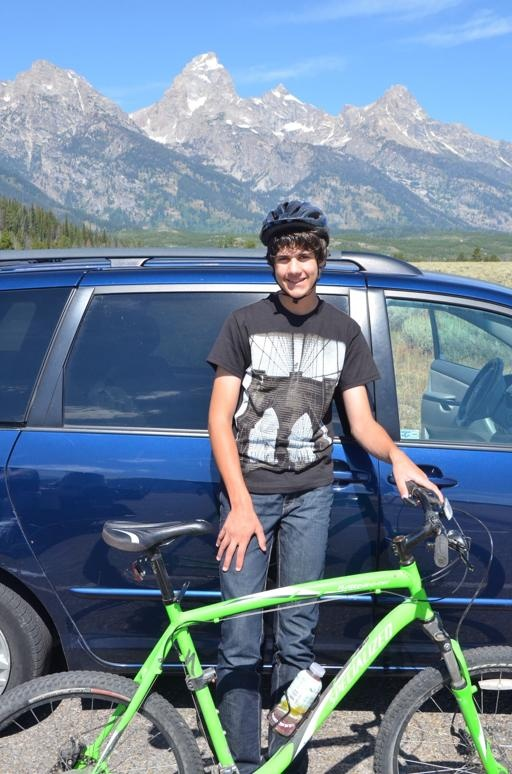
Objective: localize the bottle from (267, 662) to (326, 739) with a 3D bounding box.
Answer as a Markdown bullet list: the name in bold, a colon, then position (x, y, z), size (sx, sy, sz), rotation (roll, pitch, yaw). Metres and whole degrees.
- **bottle**: position (0.135, 0.953, 2.114), size (0.089, 0.217, 0.090), rotation (21, -25, 11)

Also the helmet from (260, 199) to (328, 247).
- **helmet**: position (0.120, -0.544, 2.299), size (0.135, 0.089, 0.188), rotation (-9, -21, 27)
